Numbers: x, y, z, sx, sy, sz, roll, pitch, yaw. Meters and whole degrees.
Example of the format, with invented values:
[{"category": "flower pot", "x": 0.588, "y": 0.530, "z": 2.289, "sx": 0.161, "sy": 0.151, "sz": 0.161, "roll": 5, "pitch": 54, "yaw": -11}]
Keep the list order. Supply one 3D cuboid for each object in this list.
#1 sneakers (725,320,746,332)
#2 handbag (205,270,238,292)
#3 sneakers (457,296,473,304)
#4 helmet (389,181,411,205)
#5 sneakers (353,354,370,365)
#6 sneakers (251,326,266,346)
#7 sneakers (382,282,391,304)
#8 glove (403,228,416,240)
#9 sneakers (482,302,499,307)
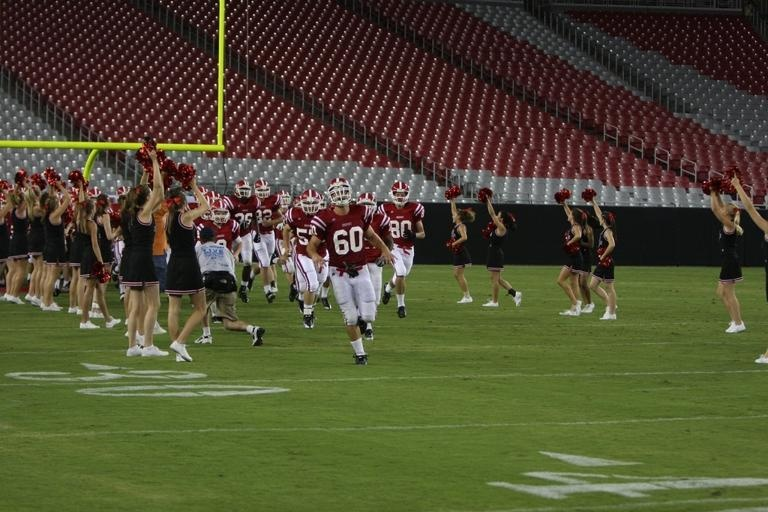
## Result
[{"category": "sneakers", "x": 5.971, "y": 1.198, "z": 19.551, "sx": 0.458, "sy": 0.172, "sz": 0.145, "roll": -4, "pitch": 5, "yaw": -8}, {"category": "handbag", "x": -2.508, "y": 0.412, "z": 17.847, "sx": 0.526, "sy": 0.336, "sz": 0.302, "roll": 0, "pitch": -5, "yaw": -20}, {"category": "sneakers", "x": 1.615, "y": 0.913, "z": 23.855, "sx": 0.377, "sy": 0.149, "sz": 0.129, "roll": -3, "pitch": 1, "yaw": 38}, {"category": "helmet", "x": 0.299, "y": -1.164, "z": 21.995, "sx": 0.402, "sy": 0.446, "sz": 0.531, "roll": 1, "pitch": -3, "yaw": -5}, {"category": "sneakers", "x": -0.320, "y": 1.493, "z": 16.669, "sx": 0.148, "sy": 0.107, "sz": 0.171, "roll": 1, "pitch": -4, "yaw": -8}, {"category": "sneakers", "x": -1.891, "y": 1.265, "z": 17.688, "sx": 0.156, "sy": 0.343, "sz": 0.179, "roll": -3, "pitch": 20, "yaw": -24}, {"category": "sneakers", "x": 0.109, "y": 0.762, "z": 22.706, "sx": 0.173, "sy": 0.448, "sz": 0.216, "roll": -3, "pitch": 13, "yaw": -29}, {"category": "glove", "x": 0.480, "y": -0.412, "z": 22.221, "sx": 0.215, "sy": 0.086, "sz": 0.272, "roll": 6, "pitch": -5, "yaw": 0}, {"category": "sneakers", "x": 2.122, "y": 0.979, "z": 23.205, "sx": 0.308, "sy": 0.108, "sz": 0.119, "roll": 1, "pitch": 1, "yaw": 23}]
